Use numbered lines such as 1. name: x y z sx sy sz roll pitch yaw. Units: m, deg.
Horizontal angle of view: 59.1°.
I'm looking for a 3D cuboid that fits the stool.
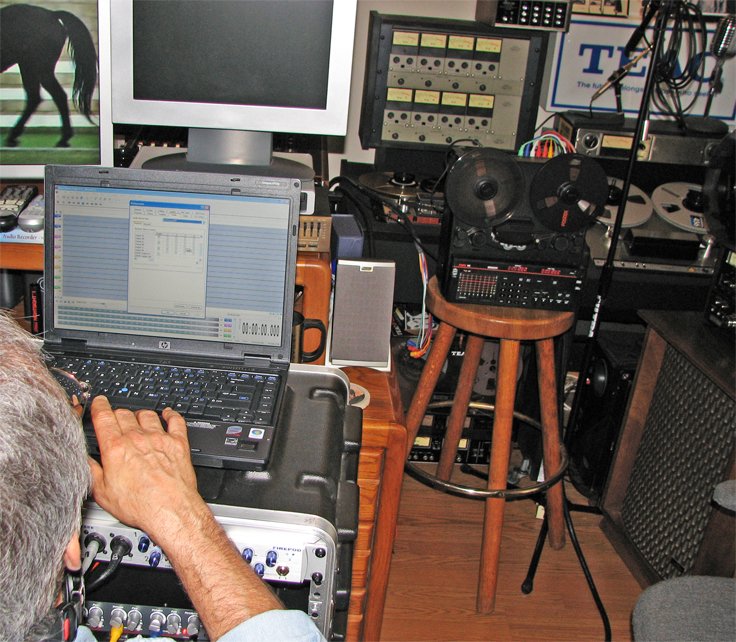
1. stool: 0.305 0.326 1.808 0.492 0.759 0.464 16 16 33
